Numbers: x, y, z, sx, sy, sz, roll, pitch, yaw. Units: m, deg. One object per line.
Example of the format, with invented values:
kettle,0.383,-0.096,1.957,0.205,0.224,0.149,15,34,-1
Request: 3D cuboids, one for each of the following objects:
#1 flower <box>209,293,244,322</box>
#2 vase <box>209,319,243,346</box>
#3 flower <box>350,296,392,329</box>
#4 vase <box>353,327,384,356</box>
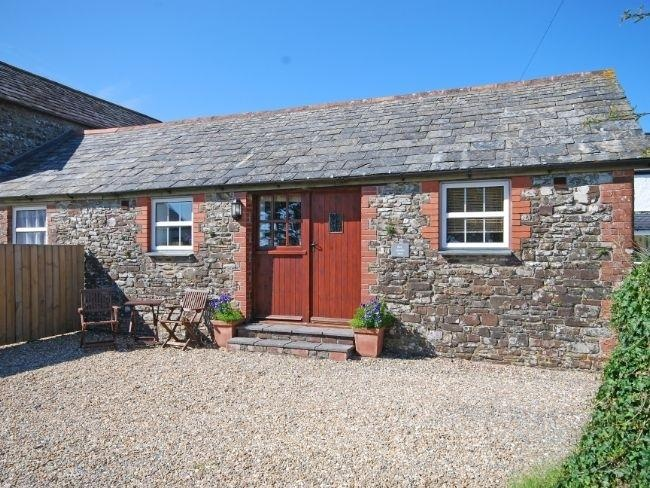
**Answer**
flower,-2.295,1.496,12.713,0.742,0.455,0.740,0,8,-3
vase,-2.296,2.060,12.764,0.744,0.603,0.590,-1,-5,11
flower,0.964,1.461,11.726,0.782,0.414,0.747,1,-3,-38
vase,0.978,2.070,11.803,0.855,0.574,0.631,-2,-10,16
